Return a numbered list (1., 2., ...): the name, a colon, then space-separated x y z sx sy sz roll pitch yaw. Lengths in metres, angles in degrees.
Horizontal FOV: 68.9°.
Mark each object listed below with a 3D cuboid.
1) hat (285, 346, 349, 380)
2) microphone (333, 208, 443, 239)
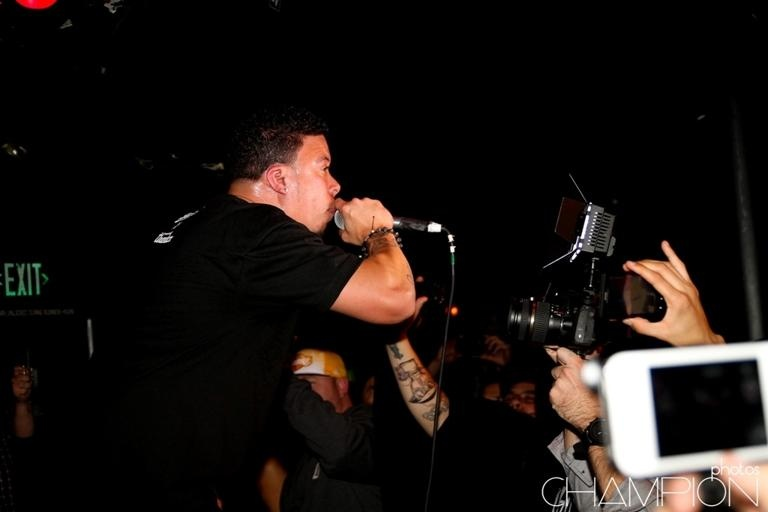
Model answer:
1. hat: -0.394 0.670 3.470 0.268 0.115 0.185 21 -20 -35
2. microphone: -0.038 -0.163 2.960 0.737 0.169 0.184 2 17 17
